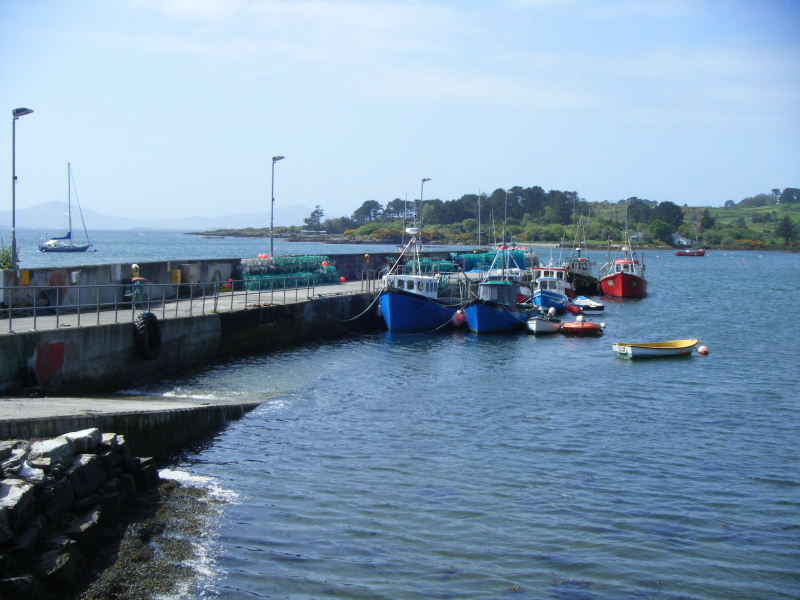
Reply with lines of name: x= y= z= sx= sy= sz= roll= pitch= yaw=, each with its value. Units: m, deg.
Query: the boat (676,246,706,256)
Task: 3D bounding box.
boat: x=42.676 y=-7.266 z=157.770 sx=3.858 sy=1.750 sz=2.684 roll=1 pitch=4 yaw=3
